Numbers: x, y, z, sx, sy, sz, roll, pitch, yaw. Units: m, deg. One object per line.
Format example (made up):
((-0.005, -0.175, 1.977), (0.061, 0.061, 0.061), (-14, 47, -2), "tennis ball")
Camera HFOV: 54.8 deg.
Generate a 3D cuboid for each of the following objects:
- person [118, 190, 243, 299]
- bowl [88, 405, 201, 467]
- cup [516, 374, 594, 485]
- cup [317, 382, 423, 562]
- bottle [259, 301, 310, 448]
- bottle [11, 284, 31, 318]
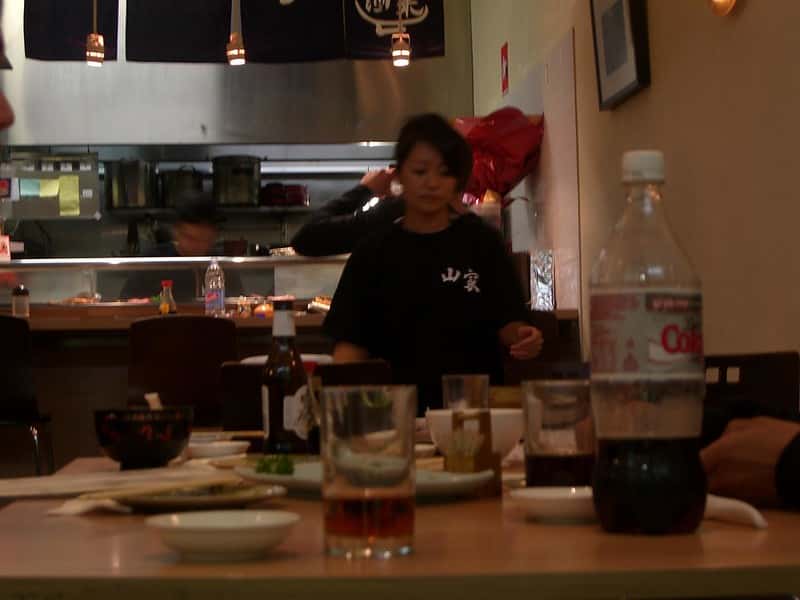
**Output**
((-1.505, -0.325, 5.394), (0.429, 0.827, 0.810), (18, 15, 33), "person")
((-0.378, 0.199, 1.144), (0.147, 0.105, 0.153), (2, 2, 0), "bowl")
((0.180, 0.120, 0.882), (0.079, 0.149, 0.088), (-3, 33, 7), "cup")
((-0.025, 0.145, 0.667), (0.080, 0.140, 0.083), (0, -1, 0), "cup")
((-0.164, 0.105, 1.095), (0.062, 0.228, 0.132), (-4, 7, -19), "bottle")
((-1.942, 0.020, 3.957), (0.074, 0.149, 0.270), (-5, 8, -28), "bottle")
